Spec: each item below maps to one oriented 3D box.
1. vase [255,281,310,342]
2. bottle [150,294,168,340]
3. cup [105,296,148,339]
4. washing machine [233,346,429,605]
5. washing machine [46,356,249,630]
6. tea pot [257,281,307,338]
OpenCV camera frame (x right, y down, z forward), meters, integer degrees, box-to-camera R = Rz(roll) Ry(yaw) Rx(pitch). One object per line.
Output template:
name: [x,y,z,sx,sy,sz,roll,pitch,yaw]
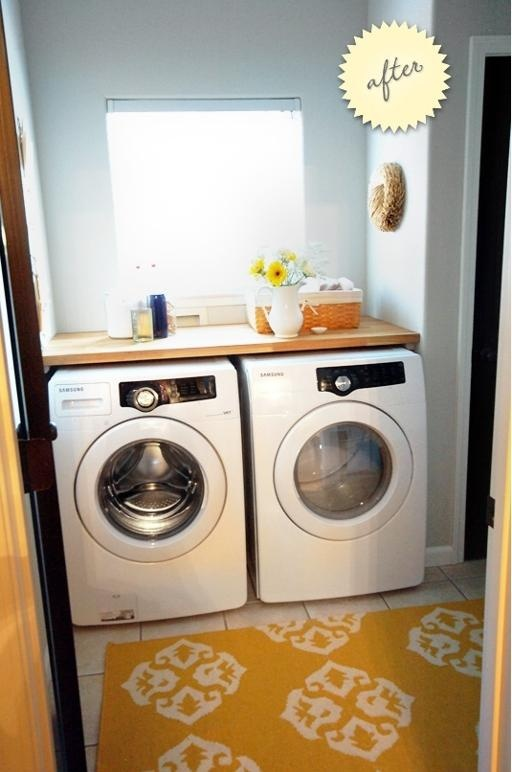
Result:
vase: [0.082,-0.282,2.072,0.172,0.211,0.127,-3,10,-5]
bottle: [-0.381,-0.265,2.143,0.060,0.191,0.114,-1,19,-1]
cup: [-0.507,-0.276,2.196,0.115,0.191,0.172,0,11,-7]
washing machine: [0.262,0.276,2.341,0.718,1.238,0.813,-3,11,-12]
washing machine: [-0.320,0.285,2.224,0.744,1.279,0.788,-2,12,-11]
tea pot: [0.084,-0.295,2.107,0.161,0.200,0.136,-8,22,-15]
